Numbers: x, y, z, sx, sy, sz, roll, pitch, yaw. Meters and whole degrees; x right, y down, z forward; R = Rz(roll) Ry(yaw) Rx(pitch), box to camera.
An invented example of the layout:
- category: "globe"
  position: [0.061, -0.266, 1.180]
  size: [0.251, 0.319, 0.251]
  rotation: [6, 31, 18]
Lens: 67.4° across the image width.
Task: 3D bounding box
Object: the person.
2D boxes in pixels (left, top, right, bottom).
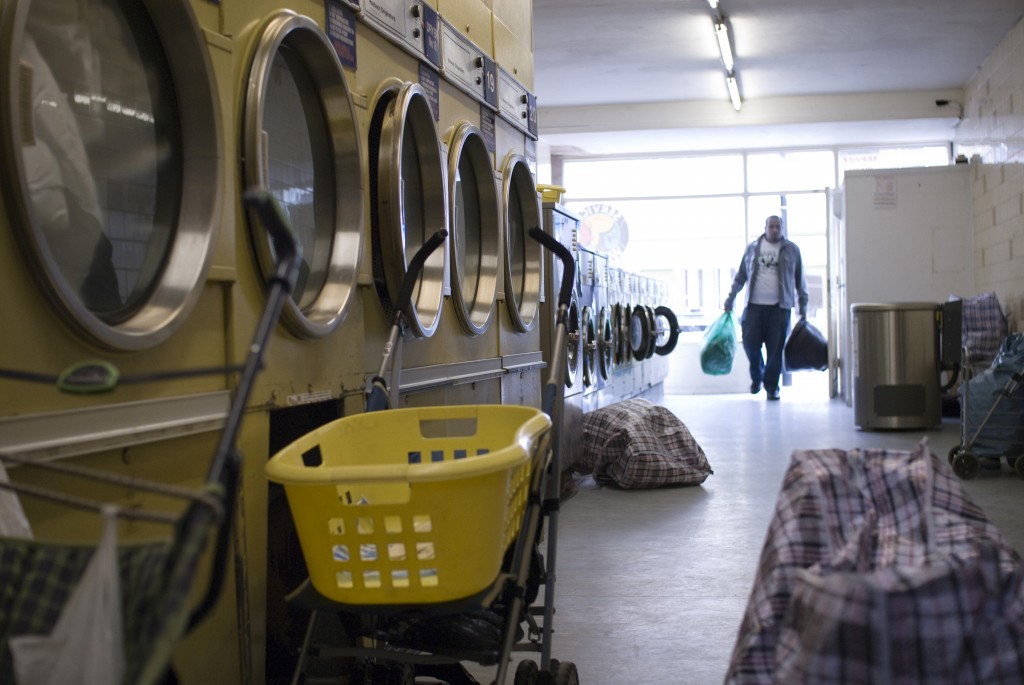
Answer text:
- category: "person"
  position: [2.729, -0.362, 8.248]
  size: [0.782, 1.977, 0.541]
  rotation: [1, 4, 29]

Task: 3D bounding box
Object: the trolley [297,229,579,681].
- category: "trolley"
  position: [-0.099, 0.380, 1.743]
  size: [0.434, 0.892, 0.808]
  rotation: [-2, 2, 14]

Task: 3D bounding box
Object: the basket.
- category: "basket"
  position: [-0.187, 0.319, 1.606]
  size: [0.529, 0.310, 0.532]
  rotation: [-1, 3, 0]

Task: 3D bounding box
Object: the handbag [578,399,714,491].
- category: "handbag"
  position: [0.698, 0.588, 4.306]
  size: [0.429, 0.220, 0.590]
  rotation: [1, 6, -4]

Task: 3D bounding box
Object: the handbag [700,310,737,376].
- category: "handbag"
  position: [2.396, 0.034, 8.881]
  size: [0.384, 0.943, 0.356]
  rotation: [-2, 35, -5]

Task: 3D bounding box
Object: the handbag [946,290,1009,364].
- category: "handbag"
  position: [3.487, -0.095, 5.753]
  size: [0.293, 0.489, 0.321]
  rotation: [-5, -11, 28]

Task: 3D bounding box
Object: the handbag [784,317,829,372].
- category: "handbag"
  position: [3.158, 0.038, 8.240]
  size: [0.517, 0.670, 0.404]
  rotation: [-6, 0, 11]
